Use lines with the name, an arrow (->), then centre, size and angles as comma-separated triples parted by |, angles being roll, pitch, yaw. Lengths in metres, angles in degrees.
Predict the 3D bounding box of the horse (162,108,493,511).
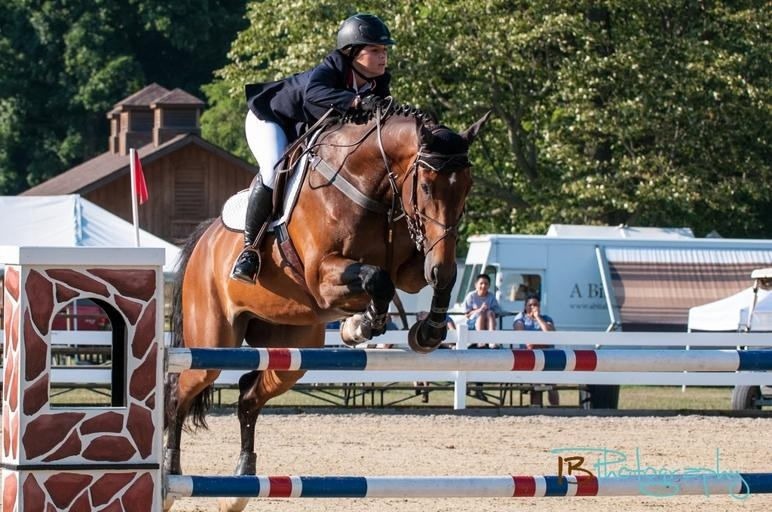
horse -> -1.243, -0.148, 44.699 | 5.692, 11.056, 8.852 | -12, 2, -2

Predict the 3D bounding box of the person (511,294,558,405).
person -> 3.511, 2.174, 47.410 | 1.045, 2.575, 0.947 | 2, -2, 1
